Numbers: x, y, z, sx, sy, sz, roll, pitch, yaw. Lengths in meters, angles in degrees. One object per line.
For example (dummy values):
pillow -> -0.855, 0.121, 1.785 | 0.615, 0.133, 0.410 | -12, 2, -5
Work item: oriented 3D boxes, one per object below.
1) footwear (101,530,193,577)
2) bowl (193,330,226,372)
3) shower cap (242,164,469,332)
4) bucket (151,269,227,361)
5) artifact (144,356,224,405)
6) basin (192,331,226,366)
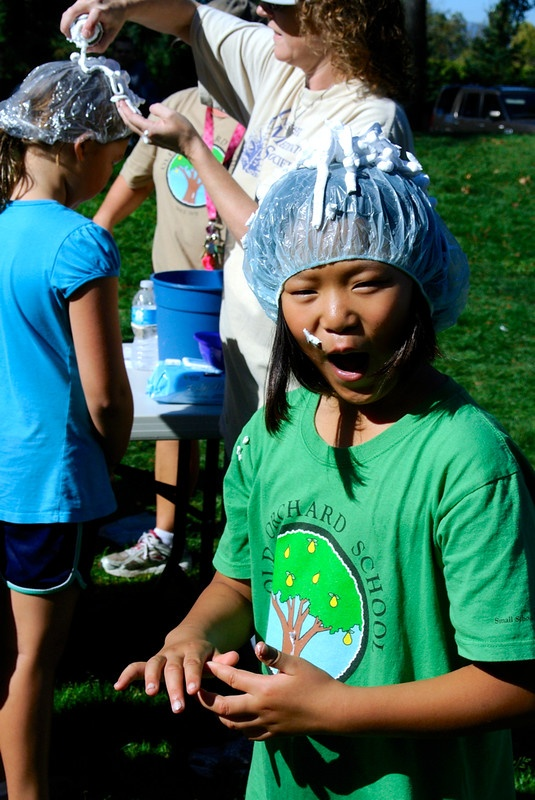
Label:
footwear -> -0.616, 0.812, 4.121 | 0.525, 0.226, 0.220 | -1, 10, -6
bowl -> -0.205, -0.185, 2.847 | 0.134, 0.099, 0.138 | 12, 13, -3
shower cap -> 0.136, -0.235, 1.261 | 0.267, 0.225, 0.324 | -13, -1, 20
bucket -> -0.311, -0.268, 2.921 | 0.278, 0.368, 0.251 | 2, 18, -12
artifact -> -0.303, -0.060, 2.865 | 0.281, 0.099, 0.158 | 8, 19, -27
basin -> -0.206, -0.186, 2.845 | 0.126, 0.091, 0.124 | 16, 16, -5
